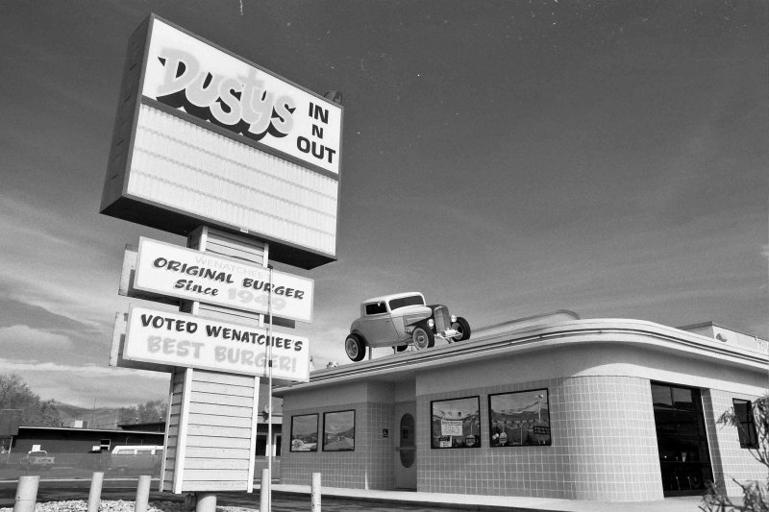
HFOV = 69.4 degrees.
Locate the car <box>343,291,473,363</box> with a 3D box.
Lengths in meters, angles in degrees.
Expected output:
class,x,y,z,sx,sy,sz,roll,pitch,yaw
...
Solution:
class,x,y,z,sx,sy,sz,roll,pitch,yaw
car,0.263,2.551,22.823,5.689,2.777,3.021,-22,-20,38
